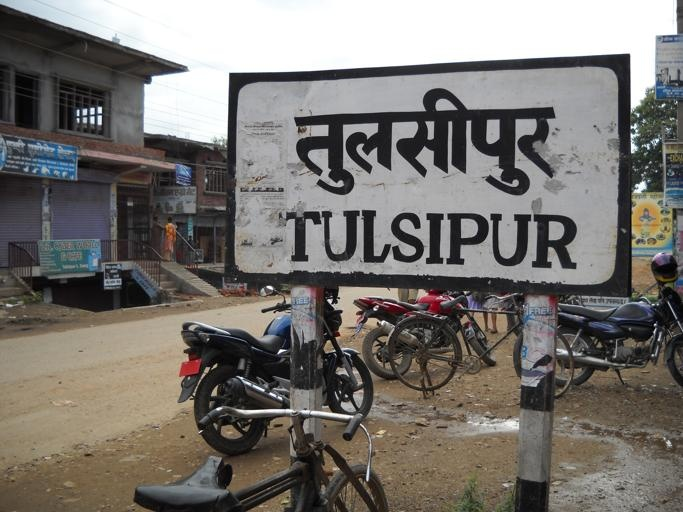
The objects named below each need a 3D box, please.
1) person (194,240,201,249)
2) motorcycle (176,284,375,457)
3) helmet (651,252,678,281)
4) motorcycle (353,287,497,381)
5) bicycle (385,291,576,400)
[{"bbox_3d":[-7.246,-0.577,32.564,0.236,0.496,0.817,8,-10,-2],"label":"person"},{"bbox_3d":[-0.630,1.204,7.499,1.094,1.871,2.651,-11,-7,43],"label":"motorcycle"},{"bbox_3d":[4.655,0.177,9.342,0.317,0.566,0.586,3,-11,24],"label":"helmet"},{"bbox_3d":[1.415,1.001,9.727,2.360,1.605,1.264,-3,-7,-21],"label":"motorcycle"},{"bbox_3d":[1.894,1.049,8.616,2.602,1.544,1.084,0,-11,11],"label":"bicycle"}]
